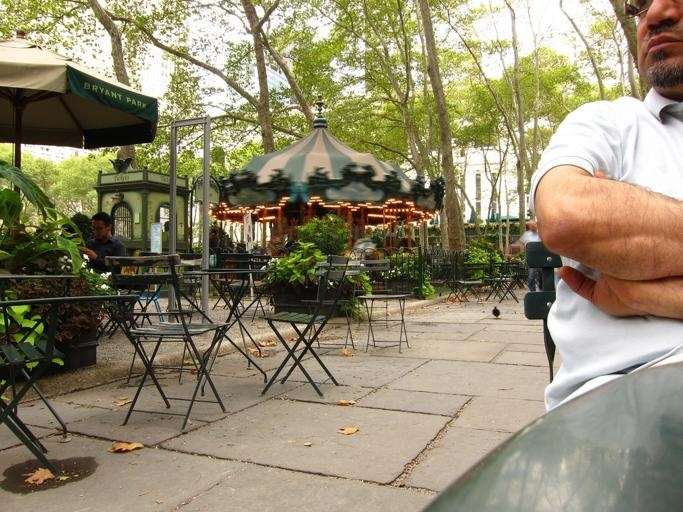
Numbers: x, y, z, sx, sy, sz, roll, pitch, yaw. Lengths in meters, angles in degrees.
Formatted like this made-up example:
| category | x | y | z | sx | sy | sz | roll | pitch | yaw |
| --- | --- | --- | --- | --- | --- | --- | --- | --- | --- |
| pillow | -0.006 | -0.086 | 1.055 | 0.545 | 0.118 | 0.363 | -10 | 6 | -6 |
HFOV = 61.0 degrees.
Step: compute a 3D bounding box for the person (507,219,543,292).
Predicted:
| category | x | y | z | sx | sy | sz | roll | pitch | yaw |
| --- | --- | --- | --- | --- | --- | --- | --- | --- | --- |
| person | 3.754 | 0.178 | 11.348 | 0.674 | 0.994 | 0.664 | -10 | -2 | 0 |
